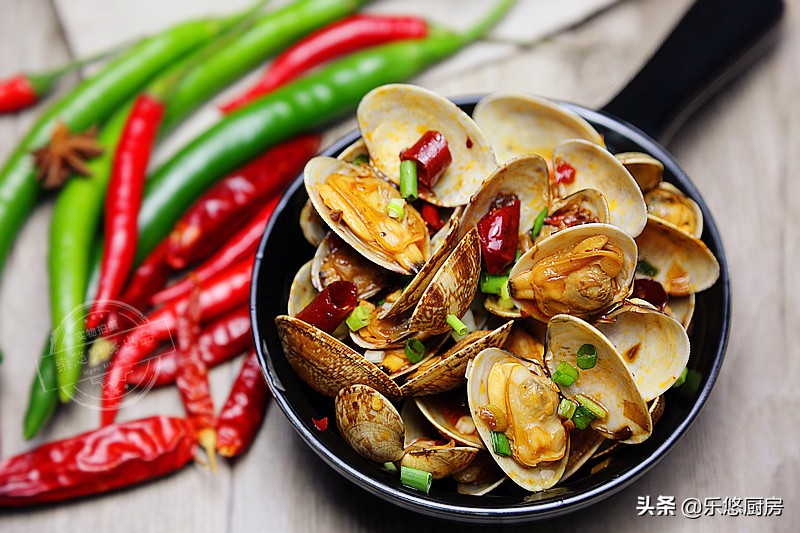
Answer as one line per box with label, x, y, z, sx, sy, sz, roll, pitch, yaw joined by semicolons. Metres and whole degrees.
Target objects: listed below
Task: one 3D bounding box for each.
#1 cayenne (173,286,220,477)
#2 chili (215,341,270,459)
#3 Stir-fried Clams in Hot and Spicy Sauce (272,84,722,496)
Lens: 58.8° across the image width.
cayenne;-0.660;0.346;2.267;0.085;0.093;0.666;1;76;-42
chili;-0.495;0.446;2.264;0.123;0.103;0.441;25;78;-29
Stir-fried Clams in Hot and Spicy Sauce;0.239;0.060;1.917;1.151;0.297;1.103;19;74;5
